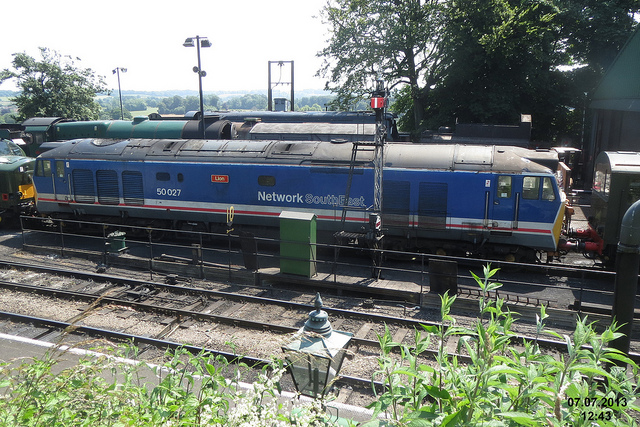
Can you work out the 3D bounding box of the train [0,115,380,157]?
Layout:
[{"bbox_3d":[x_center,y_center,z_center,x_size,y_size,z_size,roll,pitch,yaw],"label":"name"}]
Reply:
[{"bbox_3d":[-5.865,-3.760,23.139,18.108,2.758,2.939,4,20,13],"label":"train"}]

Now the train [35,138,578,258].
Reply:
[{"bbox_3d":[-1.566,-0.588,18.773,20.293,3.302,3.071,3,4,11],"label":"train"}]

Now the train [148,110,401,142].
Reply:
[{"bbox_3d":[-2.506,-5.224,28.275,13.691,1.599,7.442,7,15,31],"label":"train"}]
